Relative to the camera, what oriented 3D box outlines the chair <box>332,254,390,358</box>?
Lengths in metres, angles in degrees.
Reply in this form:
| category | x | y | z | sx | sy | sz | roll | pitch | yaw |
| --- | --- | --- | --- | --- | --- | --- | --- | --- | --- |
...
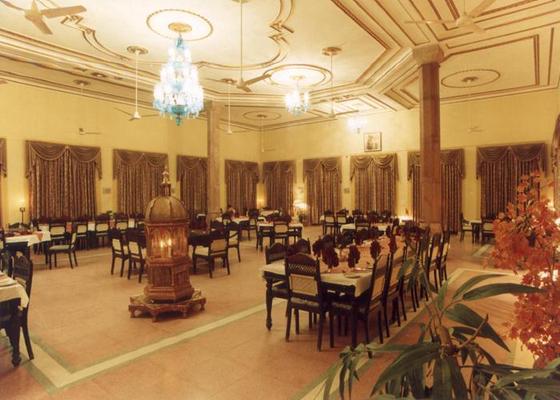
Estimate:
| category | x | y | z | sx | sy | sz | roll | pitch | yaw |
| --- | --- | --- | --- | --- | --- | --- | --- | --- | --- |
| chair | 1.186 | 1.425 | 5.971 | 0.684 | 1.356 | 1.117 | 10 | 18 | 38 |

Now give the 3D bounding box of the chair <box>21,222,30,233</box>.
| category | x | y | z | sx | sy | sz | roll | pitch | yaw |
| --- | --- | --- | --- | --- | --- | --- | --- | --- | --- |
| chair | -6.577 | 0.721 | 10.641 | 0.161 | 0.326 | 0.168 | 1 | 1 | -2 |

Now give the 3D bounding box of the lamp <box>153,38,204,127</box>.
| category | x | y | z | sx | sy | sz | roll | pitch | yaw |
| --- | --- | --- | --- | --- | --- | --- | --- | --- | --- |
| lamp | -2.200 | -2.537 | 8.861 | 1.023 | 1.849 | 0.502 | -4 | 14 | -15 |

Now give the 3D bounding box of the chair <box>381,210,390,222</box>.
| category | x | y | z | sx | sy | sz | roll | pitch | yaw |
| --- | --- | --- | --- | --- | --- | --- | --- | --- | --- |
| chair | 3.327 | 0.523 | 13.087 | 0.239 | 0.375 | 0.303 | -3 | -8 | 36 |

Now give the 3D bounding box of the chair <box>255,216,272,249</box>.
| category | x | y | z | sx | sy | sz | roll | pitch | yaw |
| --- | --- | --- | --- | --- | --- | --- | --- | --- | --- |
| chair | -0.514 | 0.981 | 12.287 | 0.432 | 0.613 | 0.844 | 2 | 2 | 27 |

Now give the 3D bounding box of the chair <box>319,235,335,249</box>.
| category | x | y | z | sx | sy | sz | roll | pitch | yaw |
| --- | --- | --- | --- | --- | --- | --- | --- | --- | --- |
| chair | 0.818 | 0.716 | 7.106 | 0.184 | 0.121 | 0.315 | 2 | 5 | 25 |

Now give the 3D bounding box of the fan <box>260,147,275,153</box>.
| category | x | y | z | sx | sy | sz | roll | pitch | yaw |
| --- | --- | --- | --- | --- | --- | --- | --- | --- | --- |
| fan | -0.593 | -2.308 | 19.599 | 0.839 | 0.245 | 0.205 | 10 | 17 | 35 |

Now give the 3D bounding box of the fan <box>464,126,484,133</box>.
| category | x | y | z | sx | sy | sz | roll | pitch | yaw |
| --- | --- | --- | --- | --- | --- | --- | --- | --- | --- |
| fan | 6.401 | -2.302 | 13.734 | 0.510 | 0.234 | 0.877 | 9 | 17 | 34 |

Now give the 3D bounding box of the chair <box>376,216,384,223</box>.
| category | x | y | z | sx | sy | sz | roll | pitch | yaw |
| --- | --- | --- | --- | --- | --- | --- | --- | --- | --- |
| chair | 2.989 | 0.594 | 12.348 | 0.165 | 0.172 | 0.167 | -2 | 3 | -31 |

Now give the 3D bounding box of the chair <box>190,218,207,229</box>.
| category | x | y | z | sx | sy | sz | roll | pitch | yaw |
| --- | --- | --- | --- | --- | --- | --- | --- | --- | --- |
| chair | -2.618 | 0.780 | 13.102 | 0.496 | 0.183 | 0.383 | 3 | 5 | 35 |

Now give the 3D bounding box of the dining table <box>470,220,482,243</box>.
| category | x | y | z | sx | sy | sz | roll | pitch | yaw |
| --- | --- | --- | --- | --- | --- | --- | --- | --- | --- |
| dining table | 6.127 | 0.947 | 12.902 | 0.312 | 0.817 | 1.157 | 6 | 15 | 25 |

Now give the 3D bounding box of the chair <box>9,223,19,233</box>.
| category | x | y | z | sx | sy | sz | roll | pitch | yaw |
| --- | --- | --- | --- | --- | --- | --- | --- | --- | --- |
| chair | -7.071 | 0.745 | 10.958 | 0.170 | 0.271 | 0.143 | 4 | 1 | -13 |

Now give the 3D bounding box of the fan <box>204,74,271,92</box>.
| category | x | y | z | sx | sy | sz | roll | pitch | yaw |
| --- | --- | --- | --- | --- | --- | --- | --- | --- | --- |
| fan | -1.186 | -3.168 | 11.226 | 1.182 | 0.228 | 1.223 | 2 | 5 | 39 |

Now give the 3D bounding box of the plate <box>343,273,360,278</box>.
| category | x | y | z | sx | sy | sz | roll | pitch | yaw |
| --- | --- | --- | --- | --- | --- | --- | --- | --- | --- |
| plate | 1.009 | 1.060 | 5.786 | 0.212 | 0.020 | 0.118 | 1 | 14 | 6 |

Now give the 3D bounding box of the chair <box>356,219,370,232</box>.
| category | x | y | z | sx | sy | sz | roll | pitch | yaw |
| --- | --- | --- | --- | --- | --- | --- | --- | --- | --- |
| chair | 2.125 | 0.675 | 10.610 | 0.199 | 0.386 | 0.214 | 5 | 16 | 29 |

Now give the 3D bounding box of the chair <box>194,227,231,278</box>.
| category | x | y | z | sx | sy | sz | roll | pitch | yaw |
| --- | --- | --- | --- | --- | --- | --- | --- | --- | --- |
| chair | -1.542 | 1.152 | 9.154 | 0.820 | 1.120 | 1.040 | -4 | 14 | -14 |
